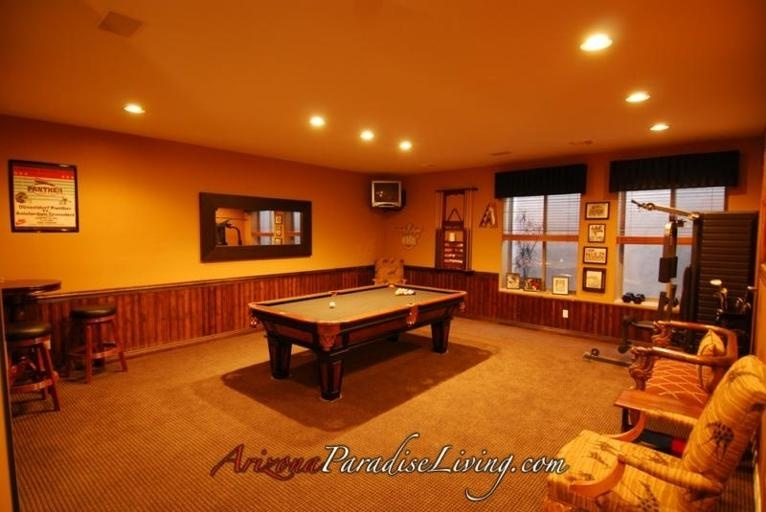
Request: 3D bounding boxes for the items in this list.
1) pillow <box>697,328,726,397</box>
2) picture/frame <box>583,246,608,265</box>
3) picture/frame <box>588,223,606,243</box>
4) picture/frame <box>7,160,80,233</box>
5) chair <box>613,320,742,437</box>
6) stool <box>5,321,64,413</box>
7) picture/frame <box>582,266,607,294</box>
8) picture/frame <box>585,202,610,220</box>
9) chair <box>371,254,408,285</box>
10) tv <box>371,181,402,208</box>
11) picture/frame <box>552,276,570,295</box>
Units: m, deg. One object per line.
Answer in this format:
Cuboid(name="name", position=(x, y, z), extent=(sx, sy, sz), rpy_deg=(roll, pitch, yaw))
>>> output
Cuboid(name="pillow", position=(3.272, 1.005, 5.015), extent=(0.262, 0.471, 0.795), rpy_deg=(-1, 5, 33))
Cuboid(name="picture/frame", position=(3.326, -0.016, 7.855), extent=(0.296, 0.248, 0.025), rpy_deg=(2, 0, 43))
Cuboid(name="picture/frame", position=(3.336, -0.362, 7.830), extent=(0.028, 0.371, 0.322), rpy_deg=(5, -3, -42))
Cuboid(name="picture/frame", position=(-4.294, -0.745, 6.279), extent=(0.981, 1.171, 0.123), rpy_deg=(1, 0, -40))
Cuboid(name="chair", position=(2.824, 1.180, 4.854), extent=(0.892, 0.814, 2.464), rpy_deg=(2, 7, 32))
Cuboid(name="stool", position=(-4.008, 1.182, 5.754), extent=(0.463, 0.954, 1.089), rpy_deg=(-3, 5, -37))
Cuboid(name="picture/frame", position=(3.320, 0.370, 7.874), extent=(0.059, 0.526, 0.426), rpy_deg=(-3, 3, -44))
Cuboid(name="picture/frame", position=(3.345, -0.702, 7.821), extent=(0.291, 0.248, 0.029), rpy_deg=(2, -2, 44))
Cuboid(name="chair", position=(0.124, 0.285, 9.658), extent=(0.482, 0.639, 0.557), rpy_deg=(-1, -7, 5))
Cuboid(name="tv", position=(0.044, -1.170, 9.736), extent=(0.790, 0.634, 0.442), rpy_deg=(1, 9, -4))
Cuboid(name="picture/frame", position=(2.946, 0.493, 8.331), extent=(0.053, 0.249, 0.303), rpy_deg=(-2, -3, -34))
